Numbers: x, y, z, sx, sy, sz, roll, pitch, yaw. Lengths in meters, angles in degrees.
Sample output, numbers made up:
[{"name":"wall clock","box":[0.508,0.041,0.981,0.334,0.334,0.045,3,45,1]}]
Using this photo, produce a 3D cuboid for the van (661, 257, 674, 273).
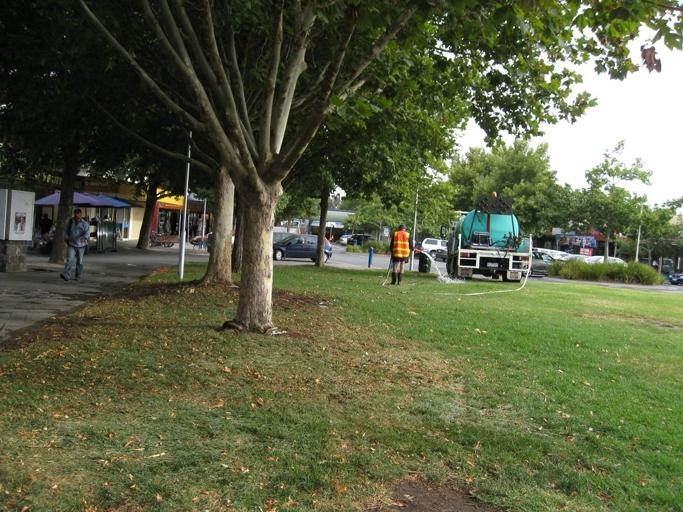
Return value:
[{"name":"van","box":[44.252,1.234,70.086,1.637,1.762,2.646,-1,-3,22]}]

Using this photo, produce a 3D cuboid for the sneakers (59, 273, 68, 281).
[{"name":"sneakers","box":[-8.504,0.648,15.808,0.085,0.188,0.168,-15,11,-3]}]

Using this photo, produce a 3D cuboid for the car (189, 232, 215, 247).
[{"name":"car","box":[-10.399,-1.182,38.269,1.924,1.024,2.455,0,4,8]}]

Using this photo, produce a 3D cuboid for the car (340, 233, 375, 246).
[{"name":"car","box":[2.450,-1.887,76.659,4.240,1.704,2.233,-4,8,-13]}]

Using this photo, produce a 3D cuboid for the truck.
[{"name":"truck","box":[6.793,-0.919,25.238,2.638,3.220,5.024,1,3,0]}]
